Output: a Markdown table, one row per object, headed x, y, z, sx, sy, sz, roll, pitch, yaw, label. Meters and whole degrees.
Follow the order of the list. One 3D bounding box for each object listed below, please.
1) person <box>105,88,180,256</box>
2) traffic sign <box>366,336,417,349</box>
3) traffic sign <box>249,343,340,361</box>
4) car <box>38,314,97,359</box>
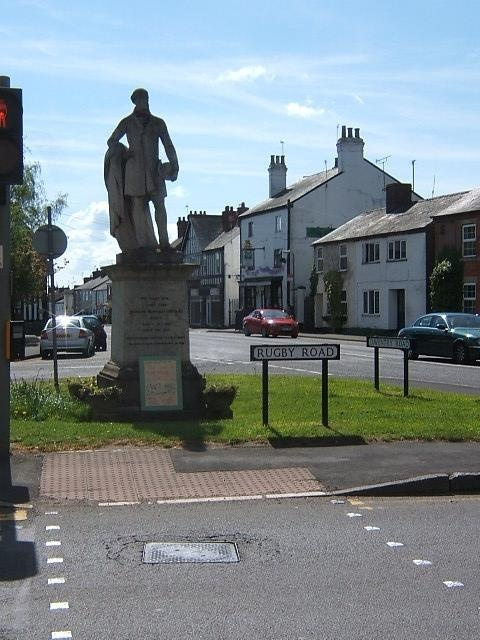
| x | y | z | sx | sy | sz | roll | pitch | yaw | label |
| --- | --- | --- | --- | --- | --- | --- | --- | --- | --- |
| -1.327 | -2.068 | 12.378 | 0.843 | 2.521 | 0.540 | -3 | 33 | -6 | person |
| 2.430 | 0.348 | 14.695 | 0.370 | 0.200 | 1.212 | -1 | 2 | -15 | traffic sign |
| 0.655 | 0.407 | 11.573 | 1.210 | 0.256 | 1.213 | -1 | 1 | -10 | traffic sign |
| -5.252 | 0.520 | 27.754 | 1.608 | 1.323 | 3.338 | -1 | 1 | -11 | car |
